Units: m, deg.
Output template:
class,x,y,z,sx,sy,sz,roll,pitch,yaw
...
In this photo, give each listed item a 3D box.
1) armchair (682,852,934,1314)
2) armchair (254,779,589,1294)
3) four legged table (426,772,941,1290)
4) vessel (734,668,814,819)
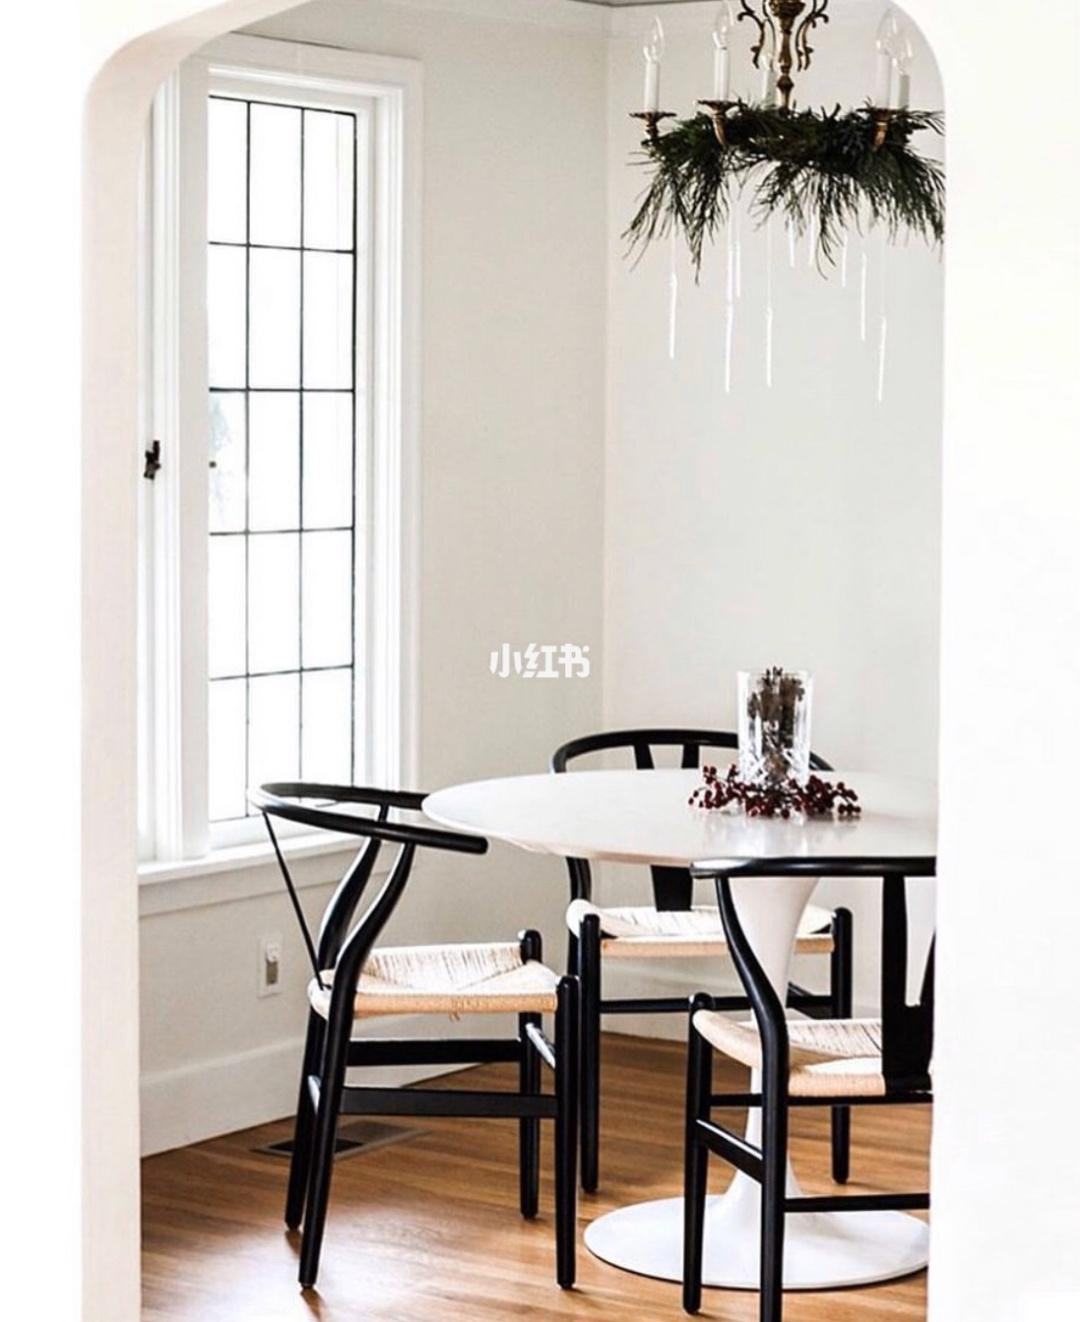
class,x,y,z,sx,sy,sz,roll,pitch,yaw
armchair,0.437,0.722,2.206,0.413,0.863,0.707,-1,0,7
armchair,-0.236,0.733,2.640,0.655,0.890,0.691,-1,-5,6
four legged table,0.328,0.700,2.581,0.925,0.691,0.928,-5,9,-31
vessel,0.475,0.161,2.694,0.150,0.270,0.152,2,0,2
